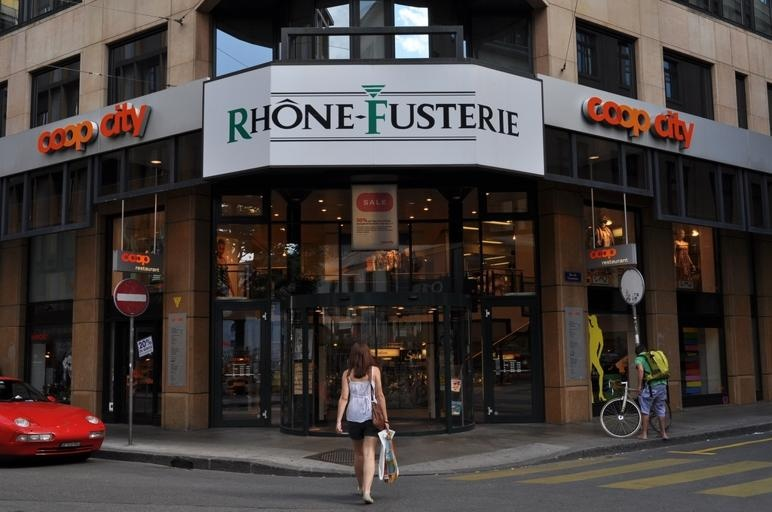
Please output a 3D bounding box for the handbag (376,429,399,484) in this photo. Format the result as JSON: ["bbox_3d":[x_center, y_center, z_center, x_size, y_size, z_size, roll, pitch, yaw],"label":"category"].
[{"bbox_3d":[0.023,3.973,16.688,0.352,1.142,0.751,-1,0,1],"label":"handbag"}]

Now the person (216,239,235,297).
[{"bbox_3d":[-4.775,0.340,24.680,0.474,1.703,0.127,0,-1,-12],"label":"person"}]

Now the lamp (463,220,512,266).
[{"bbox_3d":[3.078,-0.363,25.419,1.355,1.264,0.329,2,-3,-1],"label":"lamp"}]

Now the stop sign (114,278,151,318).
[{"bbox_3d":[-6.738,1.109,22.289,1.060,1.136,0.195,15,-24,-41],"label":"stop sign"}]

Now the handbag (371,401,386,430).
[{"bbox_3d":[-0.174,3.165,16.560,0.194,0.448,0.436,-13,-11,-1],"label":"handbag"}]
